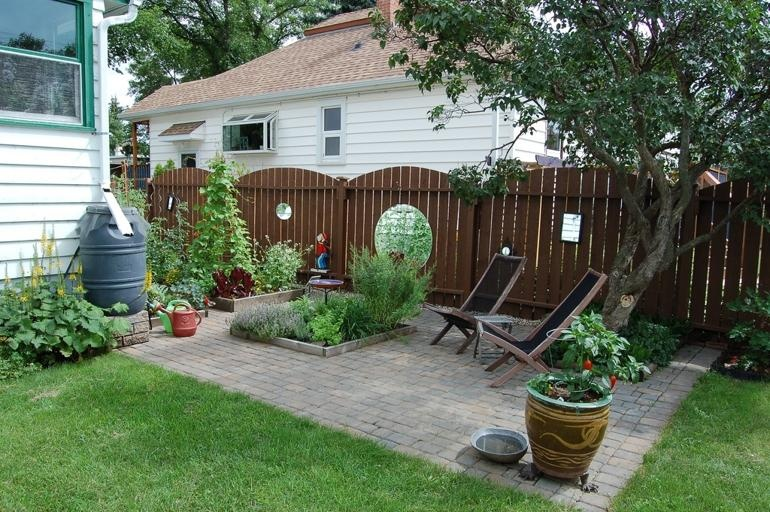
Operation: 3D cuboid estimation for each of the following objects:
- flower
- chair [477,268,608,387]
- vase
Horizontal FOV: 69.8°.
[{"bbox_3d":[2.239,1.117,6.047,1.119,0.818,1.038,1,-3,8],"label":"flower"},{"bbox_3d":[2.163,0.981,7.853,1.694,1.620,1.058,0,4,7],"label":"chair"},{"bbox_3d":[1.897,1.872,5.945,0.926,1.089,0.911,-11,16,-43],"label":"vase"}]
